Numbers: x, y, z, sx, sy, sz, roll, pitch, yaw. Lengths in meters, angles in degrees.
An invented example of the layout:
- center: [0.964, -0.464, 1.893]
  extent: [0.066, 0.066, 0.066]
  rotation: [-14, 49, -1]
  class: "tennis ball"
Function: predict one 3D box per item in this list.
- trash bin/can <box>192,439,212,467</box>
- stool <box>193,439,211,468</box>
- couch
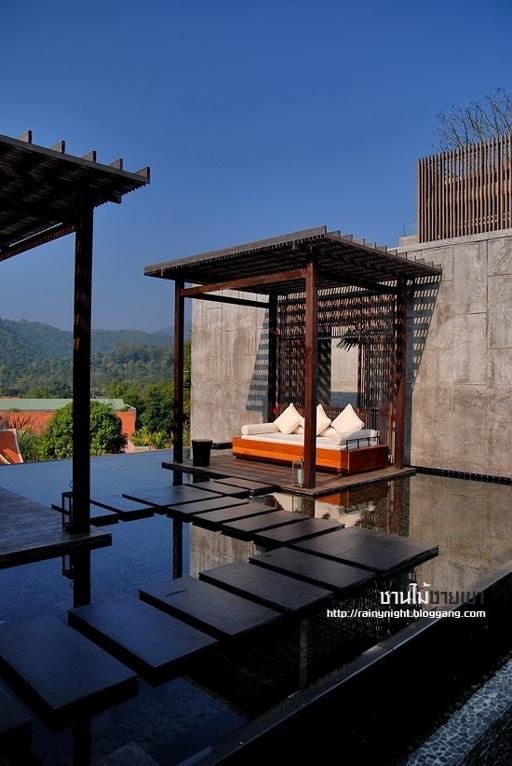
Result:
- center: [-0.769, 0.912, 9.567]
  extent: [0.312, 0.355, 0.314]
  rotation: [2, -2, -41]
  class: "trash bin/can"
- center: [-0.720, 0.907, 9.551]
  extent: [0.236, 0.354, 0.390]
  rotation: [1, 3, -5]
  class: "stool"
- center: [0.641, 0.923, 9.960]
  extent: [1.152, 0.426, 2.394]
  rotation: [-1, 4, -44]
  class: "couch"
